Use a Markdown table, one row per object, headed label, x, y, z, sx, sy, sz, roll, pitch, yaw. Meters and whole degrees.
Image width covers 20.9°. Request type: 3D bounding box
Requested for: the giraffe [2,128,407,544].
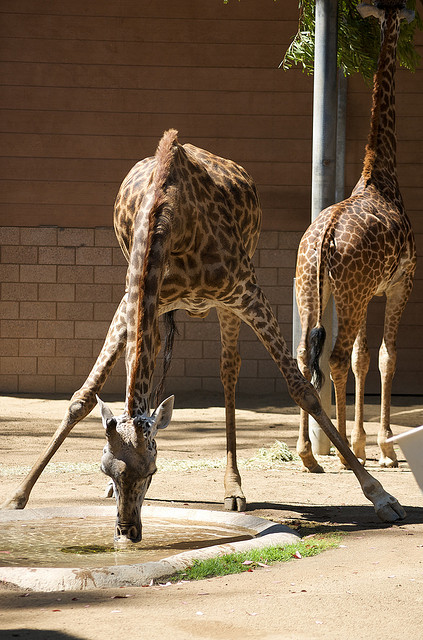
| label | x | y | z | sx | sy | sz | roll | pitch | yaw |
| --- | --- | --- | --- | --- | --- | --- | --- | --- | --- |
| giraffe | -0.360 | -0.075 | 6.500 | 1.768 | 1.551 | 2.821 | -3 | -3 | 7 |
